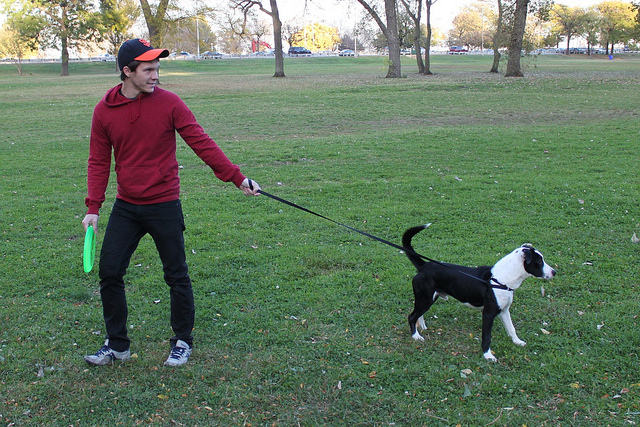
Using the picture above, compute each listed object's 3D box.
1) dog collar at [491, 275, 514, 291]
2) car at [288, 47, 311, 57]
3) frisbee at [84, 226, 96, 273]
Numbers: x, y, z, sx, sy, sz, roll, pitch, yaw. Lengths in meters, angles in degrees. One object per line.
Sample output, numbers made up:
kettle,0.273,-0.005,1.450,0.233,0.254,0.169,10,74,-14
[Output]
dog collar,2.204,0.851,6.010,0.251,0.192,0.068,2,15,17
car,-4.512,-33.912,104.207,4.374,1.610,2.669,-4,14,-3
frisbee,-2.826,0.449,6.053,0.095,0.587,0.593,4,13,-17
